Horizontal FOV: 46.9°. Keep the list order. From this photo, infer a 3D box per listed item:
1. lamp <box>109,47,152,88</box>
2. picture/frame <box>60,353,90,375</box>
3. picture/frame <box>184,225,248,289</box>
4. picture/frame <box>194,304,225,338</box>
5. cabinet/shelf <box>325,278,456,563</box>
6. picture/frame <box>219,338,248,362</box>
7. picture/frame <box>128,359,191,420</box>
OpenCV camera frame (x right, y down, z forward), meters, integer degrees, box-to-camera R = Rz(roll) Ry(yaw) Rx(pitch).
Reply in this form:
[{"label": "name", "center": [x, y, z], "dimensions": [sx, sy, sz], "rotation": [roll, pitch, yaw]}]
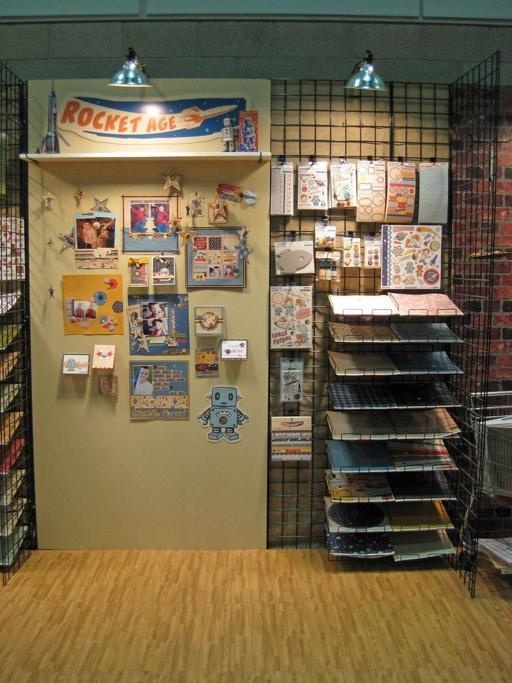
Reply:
[{"label": "lamp", "center": [-0.532, -1.172, 2.516], "dimensions": [0.123, 0.162, 0.168], "rotation": [5, 15, 20]}, {"label": "picture/frame", "center": [-0.883, 0.106, 2.882], "dimensions": [0.110, 0.087, 0.014], "rotation": [-1, -3, -1]}, {"label": "picture/frame", "center": [-0.193, -0.417, 2.810], "dimensions": [0.295, 0.281, 0.011], "rotation": [0, 4, -2]}, {"label": "picture/frame", "center": [-0.226, -0.106, 2.839], "dimensions": [0.161, 0.154, 0.027], "rotation": [0, 0, -1]}, {"label": "cabinet/shelf", "center": [0.679, 0.416, 2.861], "dimensions": [0.677, 1.289, 0.570], "rotation": [1, 14, 6]}, {"label": "picture/frame", "center": [-0.109, 0.038, 2.789], "dimensions": [0.112, 0.102, 0.098], "rotation": [-2, -1, 3]}, {"label": "picture/frame", "center": [-0.471, 0.219, 2.887], "dimensions": [0.301, 0.288, 0.022], "rotation": [0, 7, 1]}]
